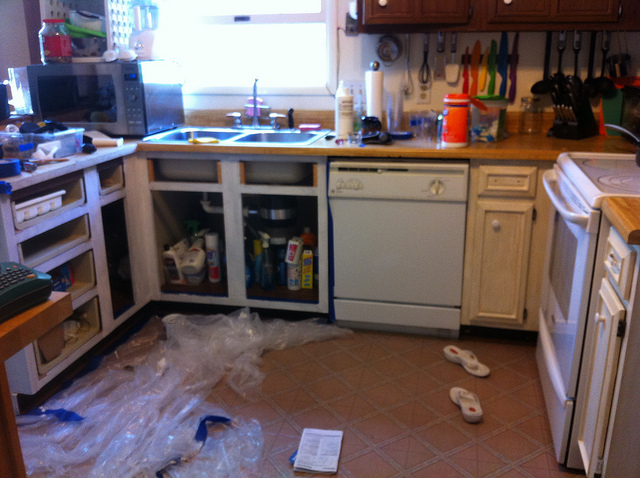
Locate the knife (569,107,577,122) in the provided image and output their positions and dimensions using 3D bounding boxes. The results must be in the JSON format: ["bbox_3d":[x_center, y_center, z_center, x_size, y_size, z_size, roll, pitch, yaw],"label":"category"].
[{"bbox_3d":[1.432,-0.704,2.781,0.011,0.074,0.054,-9,20,-21],"label":"knife"}]

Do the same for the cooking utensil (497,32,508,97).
[{"bbox_3d":[1.119,-1.059,3.032,0.055,0.399,0.035,7,11,14],"label":"cooking utensil"}]

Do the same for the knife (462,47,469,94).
[{"bbox_3d":[0.903,-1.040,3.034,0.044,0.265,0.077,3,19,16],"label":"knife"}]

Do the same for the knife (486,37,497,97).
[{"bbox_3d":[1.052,-1.058,3.010,0.049,0.322,0.070,4,19,18],"label":"knife"}]

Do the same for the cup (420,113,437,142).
[{"bbox_3d":[0.652,-0.691,2.977,0.089,0.131,0.171,2,19,12],"label":"cup"}]

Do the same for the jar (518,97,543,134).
[{"bbox_3d":[1.295,-0.752,2.992,0.156,0.205,0.133,-1,19,2],"label":"jar"}]

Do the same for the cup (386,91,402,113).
[{"bbox_3d":[0.455,-0.848,3.056,0.112,0.121,0.113,-2,19,1],"label":"cup"}]

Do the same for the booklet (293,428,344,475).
[{"bbox_3d":[-0.004,0.922,2.136,0.178,0.038,0.231,1,19,9],"label":"booklet"}]

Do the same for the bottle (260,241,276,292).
[{"bbox_3d":[-0.336,0.164,3.087,0.103,0.298,0.125,-2,19,-1],"label":"bottle"}]

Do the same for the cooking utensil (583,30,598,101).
[{"bbox_3d":[1.606,-1.017,2.910,0.071,0.438,0.106,2,38,22],"label":"cooking utensil"}]

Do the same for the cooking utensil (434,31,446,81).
[{"bbox_3d":[0.753,-1.155,3.077,0.073,0.318,0.029,3,-11,12],"label":"cooking utensil"}]

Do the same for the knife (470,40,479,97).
[{"bbox_3d":[0.958,-1.054,3.042,0.047,0.322,0.015,7,19,12],"label":"knife"}]

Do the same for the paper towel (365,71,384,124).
[{"bbox_3d":[0.332,-0.867,2.982,0.094,0.278,0.198,0,19,5],"label":"paper towel"}]

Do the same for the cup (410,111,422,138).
[{"bbox_3d":[0.579,-0.697,2.987,0.068,0.139,0.223,1,19,10],"label":"cup"}]

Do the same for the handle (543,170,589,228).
[{"bbox_3d":[0.991,-0.175,2.039,0.071,0.097,0.626,3,20,13],"label":"handle"}]

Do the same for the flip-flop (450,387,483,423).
[{"bbox_3d":[0.703,0.780,2.353,0.115,0.075,0.211,-5,27,-12],"label":"flip-flop"}]

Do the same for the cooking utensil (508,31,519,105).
[{"bbox_3d":[1.180,-1.035,2.995,0.046,0.414,0.074,3,19,14],"label":"cooking utensil"}]

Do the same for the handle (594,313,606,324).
[{"bbox_3d":[0.960,0.274,1.686,0.030,0.020,0.018,4,-10,0],"label":"handle"}]

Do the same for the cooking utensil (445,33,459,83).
[{"bbox_3d":[0.822,-1.119,3.046,0.081,0.288,0.043,-8,19,-18],"label":"cooking utensil"}]

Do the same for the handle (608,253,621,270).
[{"bbox_3d":[0.978,0.076,1.634,0.031,0.015,0.046,5,33,14],"label":"handle"}]

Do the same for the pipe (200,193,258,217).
[{"bbox_3d":[-0.564,-0.218,3.084,0.373,0.163,0.081,3,42,5],"label":"pipe"}]

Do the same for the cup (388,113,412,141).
[{"bbox_3d":[0.489,-0.698,3.012,0.147,0.136,0.394,1,19,10],"label":"cup"}]

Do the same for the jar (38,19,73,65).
[{"bbox_3d":[-1.565,-1.160,2.924,0.170,0.262,0.153,-6,16,-19],"label":"jar"}]

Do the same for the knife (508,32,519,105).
[{"bbox_3d":[1.186,-1.049,2.992,0.055,0.442,0.020,13,63,24],"label":"knife"}]

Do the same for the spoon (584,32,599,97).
[{"bbox_3d":[1.574,-1.020,2.901,0.069,0.398,0.098,-6,4,31],"label":"spoon"}]

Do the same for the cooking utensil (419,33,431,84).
[{"bbox_3d":[0.659,-1.123,3.074,0.061,0.293,0.054,-11,20,-25],"label":"cooking utensil"}]

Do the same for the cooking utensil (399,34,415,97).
[{"bbox_3d":[0.549,-1.087,3.097,0.091,0.370,0.047,10,22,32],"label":"cooking utensil"}]

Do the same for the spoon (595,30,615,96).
[{"bbox_3d":[1.650,-1.029,2.846,0.099,0.352,0.063,15,47,39],"label":"spoon"}]

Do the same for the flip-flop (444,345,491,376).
[{"bbox_3d":[0.785,0.642,2.648,0.094,0.079,0.251,-26,27,-31],"label":"flip-flop"}]

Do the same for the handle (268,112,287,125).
[{"bbox_3d":[-0.276,-0.792,3.235,0.138,0.105,0.030,6,49,2],"label":"handle"}]

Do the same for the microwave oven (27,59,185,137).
[{"bbox_3d":[-1.271,-0.852,2.919,0.695,0.452,0.528,3,17,11],"label":"microwave oven"}]

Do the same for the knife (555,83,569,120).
[{"bbox_3d":[1.380,-0.783,2.807,0.093,0.198,0.036,4,19,17],"label":"knife"}]

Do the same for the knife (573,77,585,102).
[{"bbox_3d":[1.443,-0.839,2.735,0.030,0.112,0.074,-5,6,-2],"label":"knife"}]

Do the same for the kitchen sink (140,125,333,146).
[{"bbox_3d":[-0.497,-0.637,3.083,1.073,0.100,0.580,3,20,13],"label":"kitchen sink"}]
